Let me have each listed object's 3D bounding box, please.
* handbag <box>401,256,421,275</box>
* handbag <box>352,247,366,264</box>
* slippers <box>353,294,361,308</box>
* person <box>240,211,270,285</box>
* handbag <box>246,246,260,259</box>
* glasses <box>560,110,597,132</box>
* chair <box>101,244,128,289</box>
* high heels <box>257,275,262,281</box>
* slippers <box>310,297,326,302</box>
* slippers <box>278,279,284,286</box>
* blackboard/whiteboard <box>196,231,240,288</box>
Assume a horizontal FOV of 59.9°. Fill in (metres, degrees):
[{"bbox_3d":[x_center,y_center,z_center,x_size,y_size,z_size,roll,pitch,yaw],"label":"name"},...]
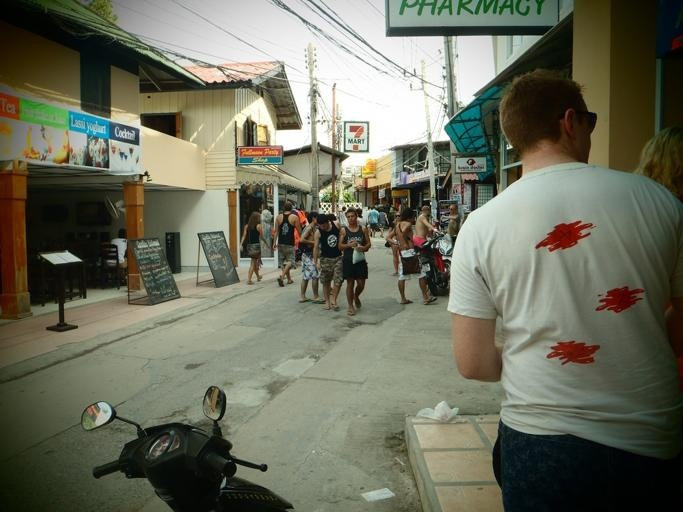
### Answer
[{"bbox_3d":[1.265,0.167,11.083,0.272,0.308,0.107,-8,3,-2],"label":"handbag"},{"bbox_3d":[0.283,-0.014,10.568,0.211,0.251,0.078,-18,6,-34],"label":"handbag"},{"bbox_3d":[0.278,0.791,10.850,0.083,0.275,0.100,-8,5,-13],"label":"slippers"},{"bbox_3d":[-2.250,-0.304,15.368,0.801,2.719,0.786,2,3,37],"label":"person"},{"bbox_3d":[-2.157,-0.132,14.753,0.271,0.368,0.183,-5,6,-29],"label":"handbag"},{"bbox_3d":[1.198,-0.704,3.013,0.135,0.050,0.142,15,13,-37],"label":"glasses"},{"bbox_3d":[-5.567,0.225,14.384,0.538,1.088,0.680,0,1,-1],"label":"chair"},{"bbox_3d":[-2.135,0.559,15.273,0.114,0.097,0.290,8,0,-4],"label":"high heels"},{"bbox_3d":[-0.465,0.868,11.620,0.214,0.107,0.123,-3,7,5],"label":"slippers"},{"bbox_3d":[-1.459,0.636,13.933,0.086,0.262,0.088,-3,13,2],"label":"slippers"},{"bbox_3d":[-3.135,0.033,14.717,0.871,1.547,0.866,6,8,13],"label":"blackboard/whiteboard"}]
